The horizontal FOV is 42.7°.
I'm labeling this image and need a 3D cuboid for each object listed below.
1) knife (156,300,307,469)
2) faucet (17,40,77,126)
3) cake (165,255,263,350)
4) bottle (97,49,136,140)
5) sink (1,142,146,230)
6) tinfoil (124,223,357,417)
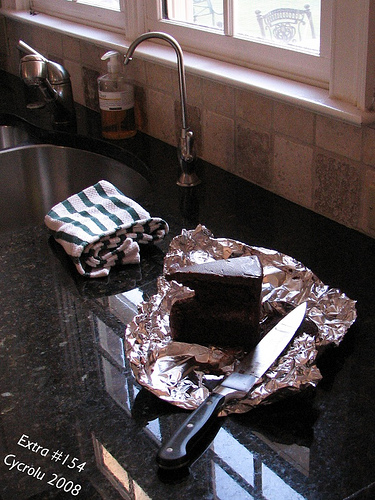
[{"bbox_3d":[0.111,0.131,0.629,0.063,0.023,0.425,-2,21,39],"label":"knife"},{"bbox_3d":[-0.415,-0.498,1.517,0.186,0.267,0.174,-23,42,-28],"label":"faucet"},{"bbox_3d":[0.057,0.060,0.660,0.149,0.123,0.086,3,32,8],"label":"cake"},{"bbox_3d":[-0.192,-0.421,1.328,0.103,0.236,0.105,-4,27,2],"label":"bottle"},{"bbox_3d":[-0.346,-0.178,1.477,0.534,0.276,0.133,9,30,24],"label":"sink"},{"bbox_3d":[0.074,0.101,0.640,0.223,0.048,0.245,21,42,27],"label":"tinfoil"}]
